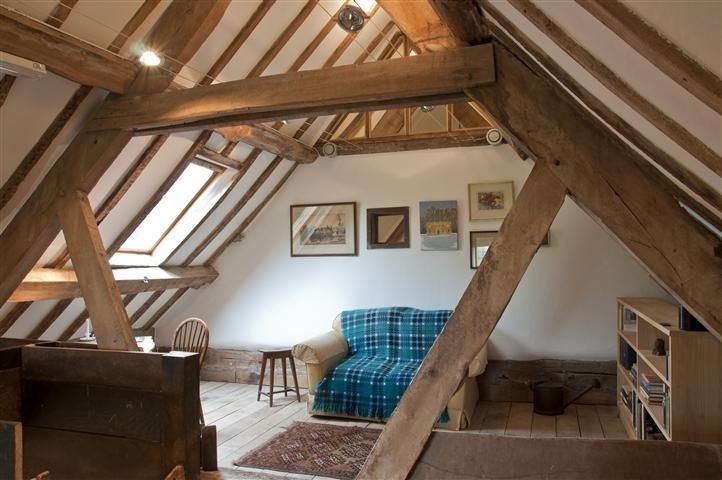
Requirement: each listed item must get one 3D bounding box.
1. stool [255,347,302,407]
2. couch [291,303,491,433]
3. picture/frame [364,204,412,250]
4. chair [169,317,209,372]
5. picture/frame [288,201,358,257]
[{"bbox_3d":[-1.008,1.529,6.249,0.385,0.463,0.382,0,-13,19],"label":"stool"},{"bbox_3d":[0.147,1.308,5.998,1.346,0.999,1.249,0,4,25],"label":"couch"},{"bbox_3d":[0.341,-0.137,6.588,0.500,0.495,0.194,-4,-5,13],"label":"picture/frame"},{"bbox_3d":[-1.935,1.223,5.922,0.364,0.644,0.466,6,2,10],"label":"chair"},{"bbox_3d":[-0.435,-0.121,6.782,0.660,0.496,0.029,3,0,18],"label":"picture/frame"}]
